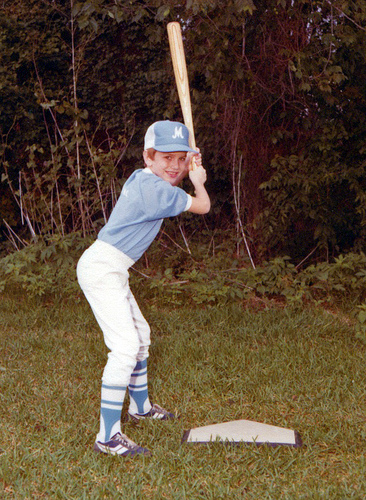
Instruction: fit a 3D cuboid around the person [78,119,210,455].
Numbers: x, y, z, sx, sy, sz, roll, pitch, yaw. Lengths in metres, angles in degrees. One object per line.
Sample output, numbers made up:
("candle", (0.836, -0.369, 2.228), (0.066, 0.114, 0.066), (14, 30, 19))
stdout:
("person", (-0.201, 0.065, 2.688), (0.682, 1.390, 1.360), (-9, 14, -7))
